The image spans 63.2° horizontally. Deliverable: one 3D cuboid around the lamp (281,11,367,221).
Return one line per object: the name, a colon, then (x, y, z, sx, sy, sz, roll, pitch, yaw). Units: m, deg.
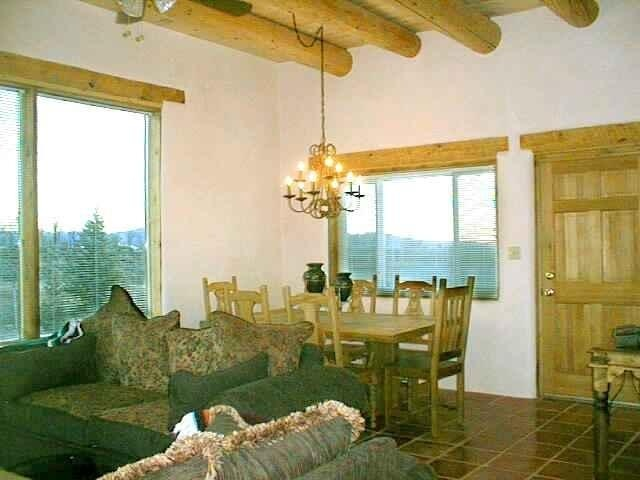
lamp: (0.032, -1.190, 5.237, 0.791, 1.879, 0.736, 0, -6, -19)

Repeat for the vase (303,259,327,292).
vase: (-0.056, 0.344, 4.789, 0.271, 0.320, 0.261, 6, -7, -9)
